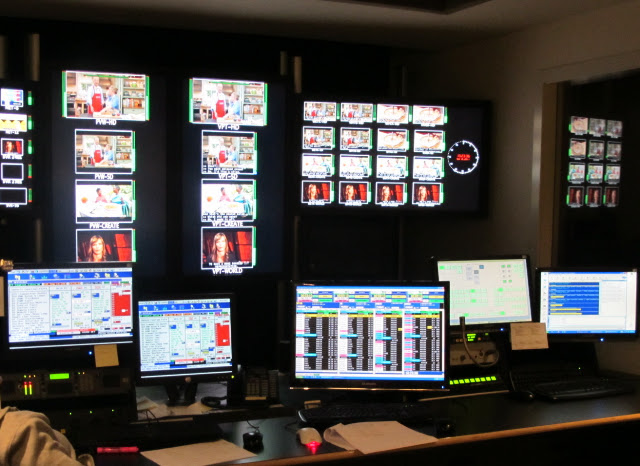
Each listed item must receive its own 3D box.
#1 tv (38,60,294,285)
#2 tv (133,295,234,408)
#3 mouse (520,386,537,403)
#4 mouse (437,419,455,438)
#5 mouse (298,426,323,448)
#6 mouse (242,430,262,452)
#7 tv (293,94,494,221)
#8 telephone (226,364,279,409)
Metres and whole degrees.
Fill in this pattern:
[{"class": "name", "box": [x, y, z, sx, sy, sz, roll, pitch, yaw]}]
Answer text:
[{"class": "tv", "box": [-1.223, -0.596, 4.516, 1.194, 1.053, 0.113, 7, -8, -4]}, {"class": "tv", "box": [-0.716, 0.601, 3.553, 0.557, 0.605, 0.222, -1, -6, -11]}, {"class": "mouse", "box": [1.148, 0.892, 3.731, 0.050, 0.039, 0.088, -3, 1, 6]}, {"class": "mouse", "box": [0.622, 0.961, 3.311, 0.073, 0.053, 0.072, 0, -3, -10]}, {"class": "mouse", "box": [-0.048, 0.978, 3.257, 0.115, 0.067, 0.100, -2, 2, -1]}, {"class": "mouse", "box": [-0.319, 0.993, 3.221, 0.064, 0.048, 0.091, 1, 6, -1]}, {"class": "tv", "box": [0.554, -0.548, 4.817, 1.500, 0.892, 0.043, 0, 10, -17]}, {"class": "telephone", "box": [-0.336, 0.784, 3.668, 0.276, 0.256, 0.148, -4, 45, -10]}]
